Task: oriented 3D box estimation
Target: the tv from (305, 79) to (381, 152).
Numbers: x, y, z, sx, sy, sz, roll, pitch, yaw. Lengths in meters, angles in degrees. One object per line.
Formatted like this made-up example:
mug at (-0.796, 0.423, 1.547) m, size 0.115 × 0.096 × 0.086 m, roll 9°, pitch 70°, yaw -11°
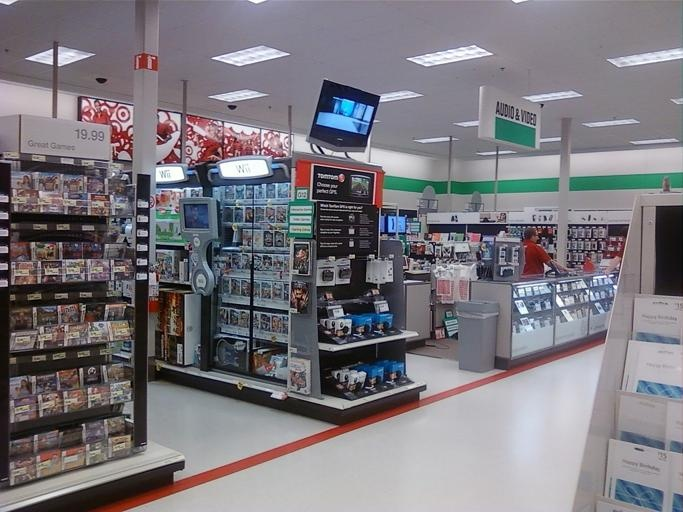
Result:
tv at (0.017, -1.597, 5.787) m, size 0.981 × 0.752 × 0.218 m, roll -3°, pitch 5°, yaw -43°

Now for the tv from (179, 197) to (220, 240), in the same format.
tv at (-1.788, -0.481, 6.325) m, size 0.490 × 0.508 × 0.274 m, roll 3°, pitch 8°, yaw 29°

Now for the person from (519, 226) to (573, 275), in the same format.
person at (4.506, -0.130, 10.963) m, size 0.772 × 1.327 × 0.868 m, roll -13°, pitch 17°, yaw -22°
